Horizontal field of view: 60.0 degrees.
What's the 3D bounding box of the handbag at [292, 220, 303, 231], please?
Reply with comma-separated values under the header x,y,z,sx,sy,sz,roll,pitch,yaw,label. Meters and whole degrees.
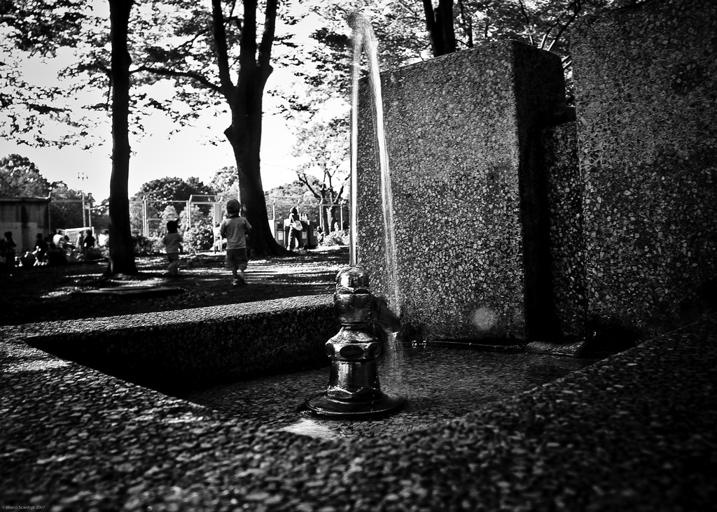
x,y,z,sx,sy,sz,roll,pitch,yaw,label
-3.486,-1.670,34.864,0.535,0.579,1.385,-5,8,-7,handbag
